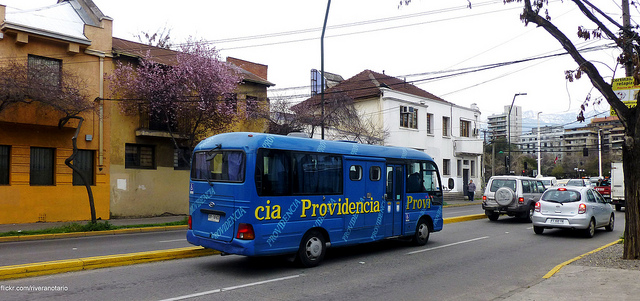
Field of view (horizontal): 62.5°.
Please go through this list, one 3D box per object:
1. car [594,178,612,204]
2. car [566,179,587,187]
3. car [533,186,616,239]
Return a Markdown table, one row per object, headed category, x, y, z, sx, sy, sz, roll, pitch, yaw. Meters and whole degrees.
| category | x | y | z | sx | sy | sz | roll | pitch | yaw |
| --- | --- | --- | --- | --- | --- | --- | --- | --- | --- |
| car | 24.887 | 3.539 | 46.061 | 1.937 | 1.709 | 3.806 | -1 | 2 | 19 |
| car | 25.189 | 3.390 | 51.424 | 1.316 | 0.881 | 2.178 | 2 | 3 | 36 |
| car | 18.149 | 4.286 | 37.261 | 5.582 | 3.580 | 1.975 | 1 | -6 | -18 |
